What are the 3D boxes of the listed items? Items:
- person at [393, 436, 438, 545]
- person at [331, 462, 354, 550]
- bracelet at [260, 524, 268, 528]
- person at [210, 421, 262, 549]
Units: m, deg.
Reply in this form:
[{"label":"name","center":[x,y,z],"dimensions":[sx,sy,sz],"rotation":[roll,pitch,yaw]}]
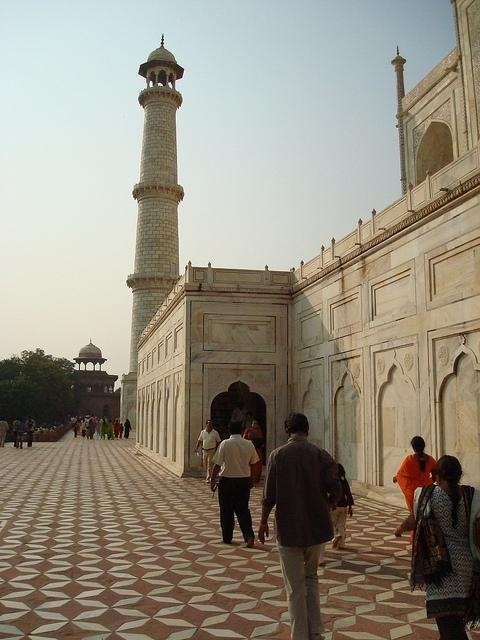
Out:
[{"label":"person","center":[1.692,1.579,5.715],"dimensions":[0.362,0.952,0.325],"rotation":[-6,13,2]},{"label":"person","center":[1.023,1.876,6.128],"dimensions":[0.284,0.736,0.201],"rotation":[-5,-14,39]},{"label":"bracelet","center":[0.145,1.237,3.586],"dimensions":[0.024,0.031,0.076],"rotation":[0,-20,-2]},{"label":"person","center":[-0.047,1.720,6.310],"dimensions":[0.465,1.278,0.352],"rotation":[-1,-11,1]}]
